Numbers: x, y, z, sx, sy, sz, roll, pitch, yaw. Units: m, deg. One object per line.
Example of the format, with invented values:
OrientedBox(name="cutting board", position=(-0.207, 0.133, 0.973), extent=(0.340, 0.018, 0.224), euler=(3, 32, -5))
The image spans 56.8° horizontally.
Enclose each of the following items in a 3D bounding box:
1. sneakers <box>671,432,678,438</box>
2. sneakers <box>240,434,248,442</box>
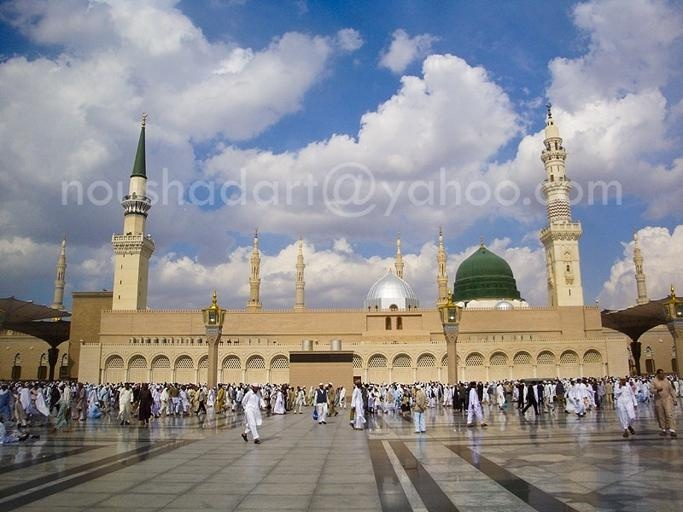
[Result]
OrientedBox(name="sneakers", position=(8.783, 4.701, 16.649), extent=(0.112, 0.181, 0.176), euler=(2, 1, 19))
OrientedBox(name="sneakers", position=(-2.661, 4.932, 17.213), extent=(0.115, 0.146, 0.338), euler=(13, -6, -35))
